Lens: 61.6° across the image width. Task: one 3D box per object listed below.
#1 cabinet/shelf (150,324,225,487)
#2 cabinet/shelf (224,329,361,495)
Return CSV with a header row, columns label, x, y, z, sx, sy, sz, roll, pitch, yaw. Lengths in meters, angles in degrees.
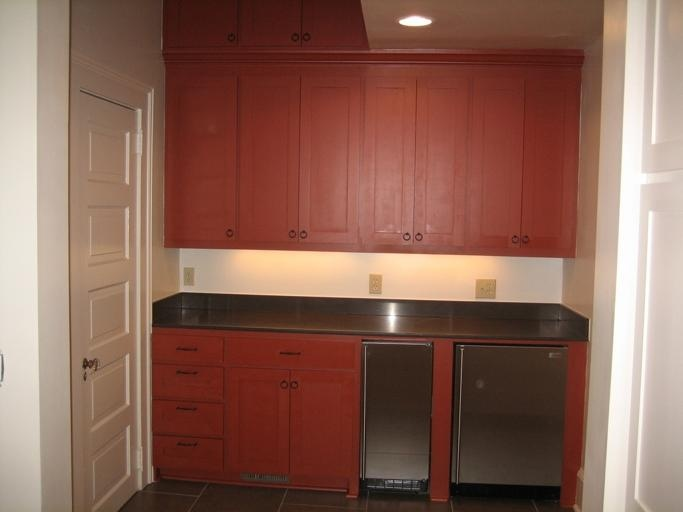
label,x,y,z,sx,sy,sz,roll,pitch,yaw
cabinet/shelf,-0.938,0.870,3.505,0.452,0.828,0.178,1,-9,6
cabinet/shelf,-0.279,0.887,3.439,0.870,1.104,0.403,1,1,7
